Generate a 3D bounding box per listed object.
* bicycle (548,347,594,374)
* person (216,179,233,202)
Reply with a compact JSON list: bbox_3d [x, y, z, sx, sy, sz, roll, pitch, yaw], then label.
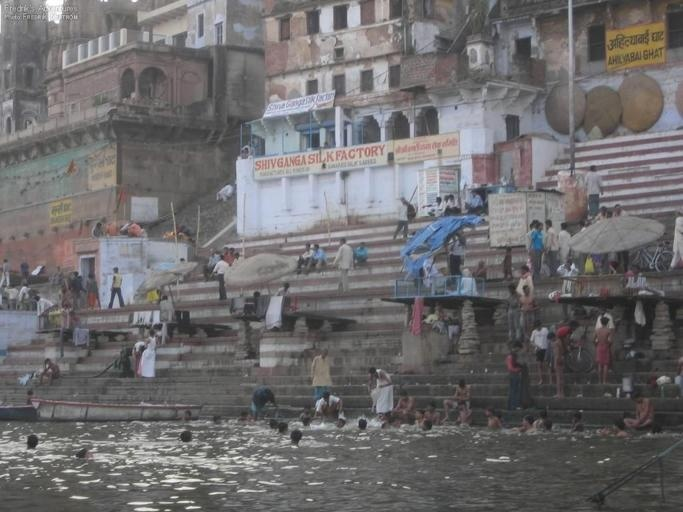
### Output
[{"bbox_3d":[6.536,3.094,53.987,0.805,0.741,0.196,10,-6,-9],"label":"bicycle"},{"bbox_3d":[-4.942,-2.699,80.757,0.618,0.822,0.330,32,-11,5],"label":"person"}]
